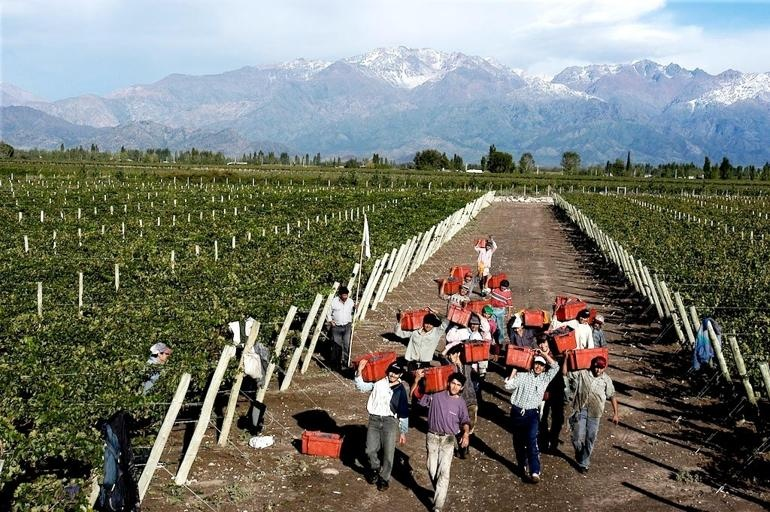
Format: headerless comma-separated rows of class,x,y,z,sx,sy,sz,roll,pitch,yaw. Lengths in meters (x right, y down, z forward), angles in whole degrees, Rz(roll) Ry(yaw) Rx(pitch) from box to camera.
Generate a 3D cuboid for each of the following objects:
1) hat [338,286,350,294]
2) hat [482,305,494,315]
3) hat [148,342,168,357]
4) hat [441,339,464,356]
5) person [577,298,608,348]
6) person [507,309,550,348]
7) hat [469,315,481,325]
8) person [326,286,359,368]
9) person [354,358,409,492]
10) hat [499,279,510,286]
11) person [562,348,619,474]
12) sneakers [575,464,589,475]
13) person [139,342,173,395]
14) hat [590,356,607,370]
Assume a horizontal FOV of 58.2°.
hat,-1.487,1.175,24.802,0.361,0.262,0.521,0,15,-8
hat,3.546,1.842,23.860,0.307,0.241,0.474,2,-9,10
hat,-6.020,2.472,18.401,0.440,0.359,0.332,-5,8,-37
hat,2.036,2.759,20.969,0.428,0.250,0.621,-14,21,44
person,6.719,2.271,22.627,0.926,1.342,0.506,0,-8,17
person,4.894,2.374,24.171,0.995,1.480,0.502,6,-12,0
hat,2.875,2.035,22.133,0.267,0.285,0.301,18,14,6
person,-1.593,2.544,24.989,0.819,3.012,0.896,0,13,-6
person,-0.071,4.392,18.308,1.283,3.233,1.090,2,13,2
hat,4.761,1.027,27.483,0.314,0.374,0.407,1,-22,2
person,5.698,4.297,19.352,1.042,3.077,0.828,-7,15,-31
sneakers,5.479,5.843,19.171,0.284,0.190,0.237,6,15,18
person,-5.974,2.850,18.108,0.579,0.897,1.132,0,14,-7
hat,5.911,2.898,19.132,0.258,0.337,0.357,1,-26,15
